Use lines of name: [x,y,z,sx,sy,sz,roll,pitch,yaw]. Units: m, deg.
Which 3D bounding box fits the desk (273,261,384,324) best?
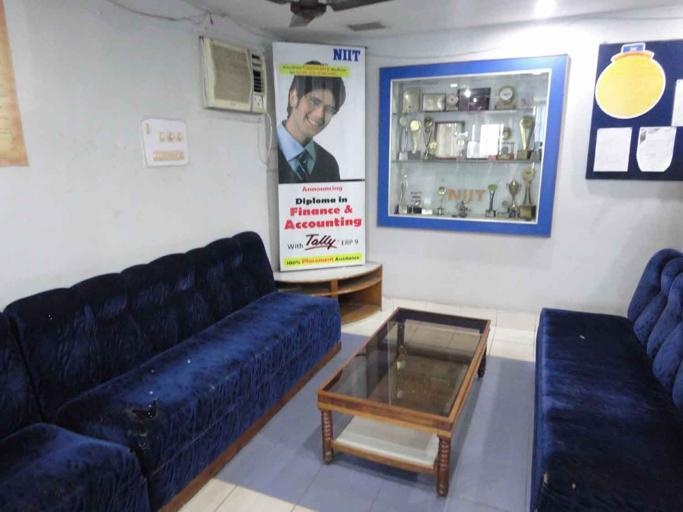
desk: [-0.034,0.231,5.143,0.907,0.498,0.572,-8,11,-30]
